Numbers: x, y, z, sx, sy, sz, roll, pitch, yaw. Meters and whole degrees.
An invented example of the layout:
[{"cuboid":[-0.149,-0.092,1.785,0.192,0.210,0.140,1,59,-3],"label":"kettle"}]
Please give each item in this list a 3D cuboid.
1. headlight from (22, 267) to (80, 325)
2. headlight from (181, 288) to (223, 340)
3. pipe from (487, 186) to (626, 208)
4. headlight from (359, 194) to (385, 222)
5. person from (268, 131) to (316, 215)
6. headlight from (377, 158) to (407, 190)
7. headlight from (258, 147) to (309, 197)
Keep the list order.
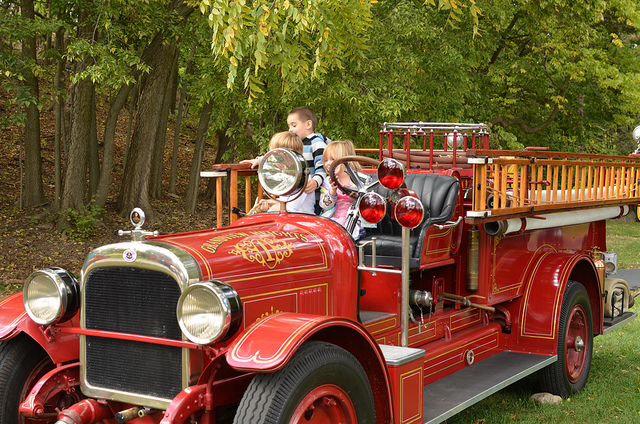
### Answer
[{"cuboid":[-2.464,0.764,6.030,0.562,0.523,0.227,5,6,23],"label":"headlight"},{"cuboid":[-0.973,0.829,5.504,0.459,0.509,0.148,3,6,22],"label":"headlight"},{"cuboid":[2.970,-0.194,8.369,1.781,0.307,0.267,-2,2,-34],"label":"pipe"},{"cuboid":[0.508,-0.045,6.342,0.259,0.294,0.272,-4,42,-9],"label":"headlight"},{"cuboid":[-0.300,-0.402,7.052,0.662,0.853,0.317,0,10,32],"label":"person"},{"cuboid":[0.685,-0.363,6.267,0.263,0.290,0.153,3,5,-1],"label":"headlight"},{"cuboid":[-0.367,-0.407,6.509,0.455,0.505,0.156,8,11,27],"label":"headlight"}]
